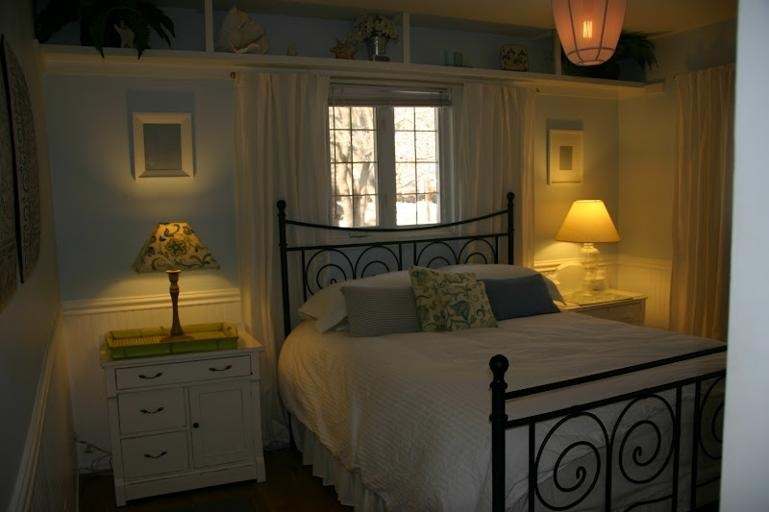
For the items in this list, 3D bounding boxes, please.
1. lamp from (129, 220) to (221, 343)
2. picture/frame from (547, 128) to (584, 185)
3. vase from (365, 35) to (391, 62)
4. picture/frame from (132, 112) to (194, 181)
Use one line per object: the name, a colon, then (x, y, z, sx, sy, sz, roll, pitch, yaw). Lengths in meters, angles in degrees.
lamp: (-1.395, 0.157, 4.060, 0.578, 0.868, 0.549, -8, 16, -40)
picture/frame: (1.531, -0.870, 5.323, 0.449, 0.617, 0.060, -2, 5, -26)
vase: (-0.050, -1.487, 4.429, 0.176, 0.200, 0.172, 0, 6, -5)
picture/frame: (-1.492, -0.743, 4.139, 0.422, 0.514, 0.051, -2, 6, -18)
